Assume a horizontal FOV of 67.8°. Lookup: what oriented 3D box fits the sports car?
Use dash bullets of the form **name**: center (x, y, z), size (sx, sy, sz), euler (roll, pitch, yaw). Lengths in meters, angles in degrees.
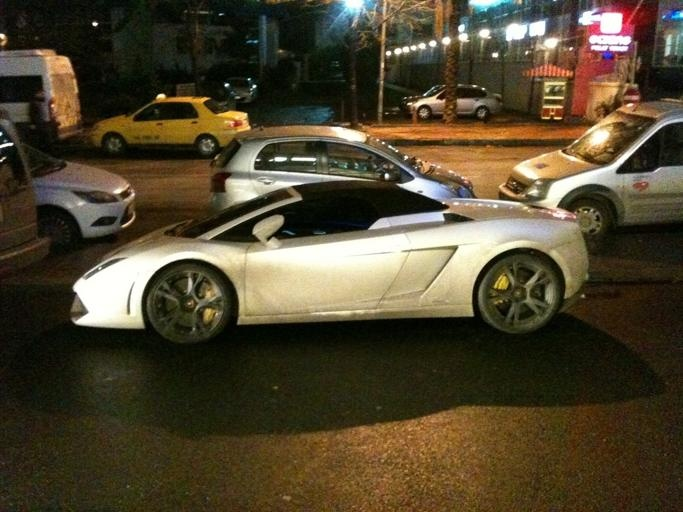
- **sports car**: center (0.098, 0.018, 5.506), size (4.769, 0.881, 2.064), euler (0, 5, -2)
